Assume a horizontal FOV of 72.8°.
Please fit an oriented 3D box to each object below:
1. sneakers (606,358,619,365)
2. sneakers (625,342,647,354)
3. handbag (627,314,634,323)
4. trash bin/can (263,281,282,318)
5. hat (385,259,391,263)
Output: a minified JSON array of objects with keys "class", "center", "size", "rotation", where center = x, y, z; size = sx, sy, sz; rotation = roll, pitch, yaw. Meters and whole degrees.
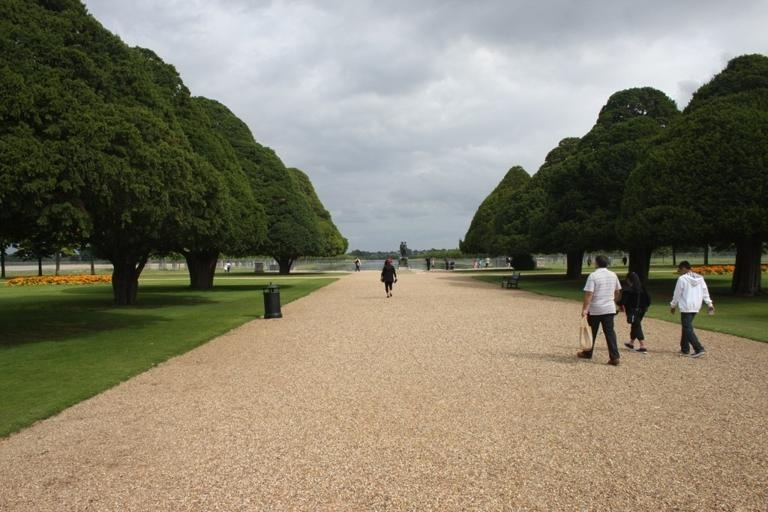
[{"class":"sneakers","center":[4.755,2.193,10.771],"size":[0.231,0.131,0.215],"rotation":[0,0,26]},{"class":"sneakers","center":[5.786,2.119,11.981],"size":[0.181,0.200,0.484],"rotation":[1,3,-10]},{"class":"handbag","center":[5.551,1.426,11.697],"size":[0.148,0.161,0.164],"rotation":[-4,7,-30]},{"class":"trash bin/can","center":[-3.720,1.557,17.380],"size":[0.710,1.045,0.711],"rotation":[-5,0,-35]},{"class":"hat","center":[0.193,0.234,24.369],"size":[0.209,0.130,0.272],"rotation":[1,-2,-1]}]
